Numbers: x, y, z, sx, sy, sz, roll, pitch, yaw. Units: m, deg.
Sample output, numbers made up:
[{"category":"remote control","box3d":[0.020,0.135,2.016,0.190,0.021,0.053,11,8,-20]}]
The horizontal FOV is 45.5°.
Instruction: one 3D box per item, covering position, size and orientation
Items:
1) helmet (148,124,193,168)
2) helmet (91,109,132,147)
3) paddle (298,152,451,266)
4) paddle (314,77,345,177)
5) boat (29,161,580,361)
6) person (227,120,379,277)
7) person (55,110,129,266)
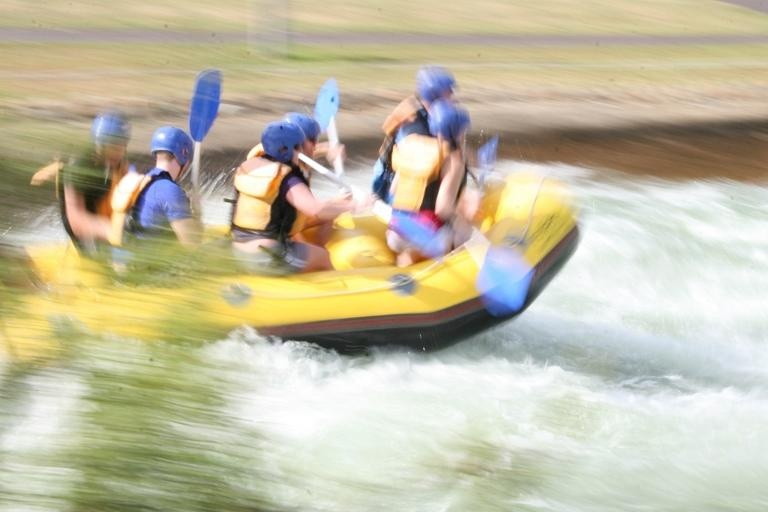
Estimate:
[{"category":"helmet","box3d":[-1.110,-0.571,4.898,0.216,0.175,0.228,3,0,21]},{"category":"helmet","box3d":[-0.924,-0.430,3.103,0.110,0.092,0.120,4,31,1]},{"category":"paddle","box3d":[0.070,-0.245,5.270,1.202,0.125,0.345,31,74,-6]},{"category":"paddle","box3d":[-0.332,-0.830,5.913,0.102,0.229,0.677,34,28,-24]},{"category":"boat","box3d":[-0.015,0.047,4.969,2.070,0.420,1.031,-4,26,-10]},{"category":"person","box3d":[-0.488,-0.309,5.300,0.816,1.136,0.613,-28,65,-20]},{"category":"person","box3d":[-1.032,-0.239,3.273,0.236,0.636,0.479,0,31,-17]}]
